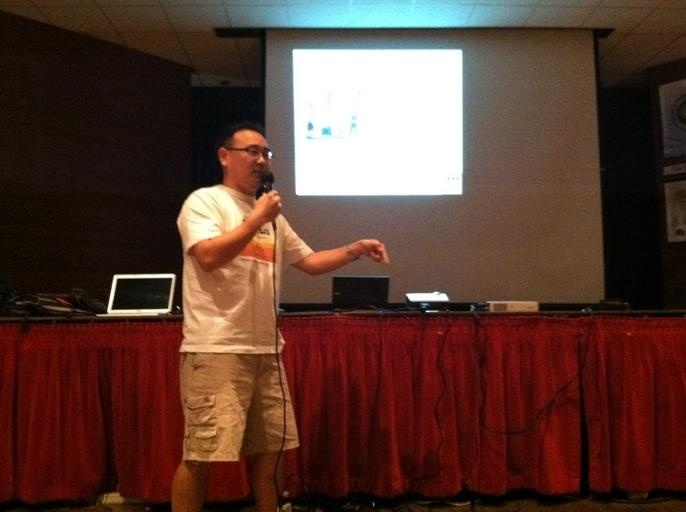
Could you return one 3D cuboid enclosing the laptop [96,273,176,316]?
[{"bbox_3d":[-1.420,0.262,4.338,0.465,0.321,0.297,1,-10,-1],"label":"laptop"}]

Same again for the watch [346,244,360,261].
[{"bbox_3d":[0.064,-0.017,3.796,0.029,0.088,0.075,-9,18,15],"label":"watch"}]

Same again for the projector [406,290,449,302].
[{"bbox_3d":[0.614,0.308,4.554,0.286,0.062,0.248,-1,-1,26],"label":"projector"}]
